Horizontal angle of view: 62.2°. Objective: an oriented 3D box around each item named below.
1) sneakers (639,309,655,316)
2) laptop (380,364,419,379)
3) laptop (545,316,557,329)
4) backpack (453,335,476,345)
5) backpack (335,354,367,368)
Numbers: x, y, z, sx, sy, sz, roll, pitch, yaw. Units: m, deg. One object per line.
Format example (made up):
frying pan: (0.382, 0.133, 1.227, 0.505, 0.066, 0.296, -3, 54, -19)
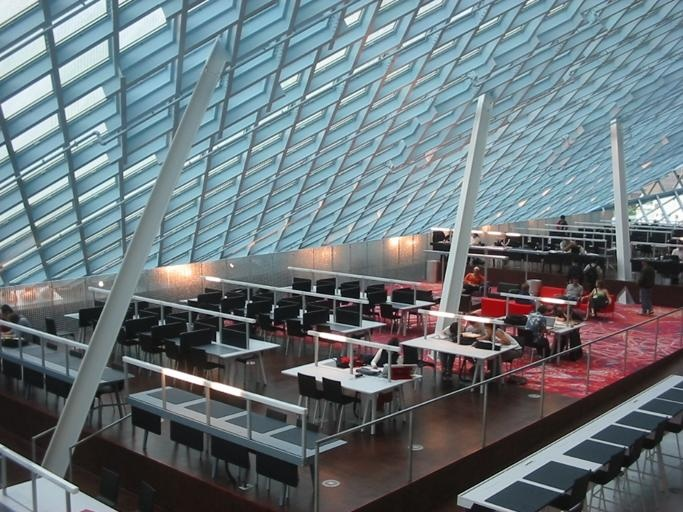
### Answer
sneakers: (14.240, 2.655, 26.453, 0.762, 0.227, 0.257, -4, 6, -10)
laptop: (1.459, 2.824, 13.913, 0.669, 0.171, 0.528, 0, 1, -27)
laptop: (7.124, 2.277, 19.399, 0.558, 0.394, 0.392, -1, 1, -30)
backpack: (3.753, 2.543, 17.121, 0.395, 0.098, 0.376, 1, 4, 36)
backpack: (0.254, 2.788, 14.996, 0.530, 0.135, 0.466, 1, 0, -24)
